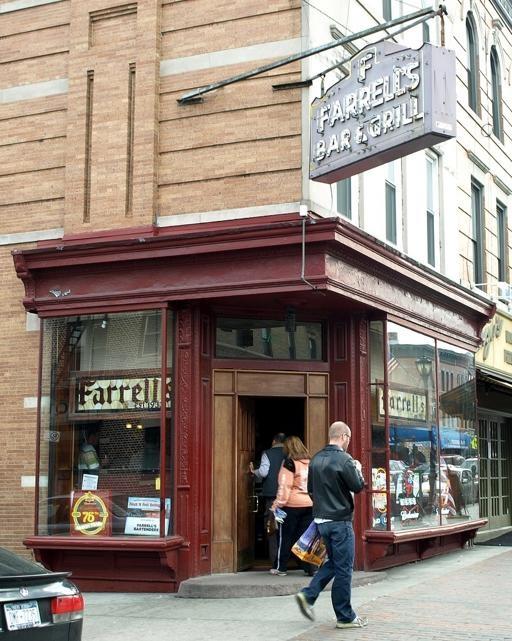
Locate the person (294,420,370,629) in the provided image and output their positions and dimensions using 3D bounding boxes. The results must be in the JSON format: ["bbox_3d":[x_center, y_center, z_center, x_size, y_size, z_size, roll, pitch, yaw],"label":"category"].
[{"bbox_3d":[0.652,1.790,7.857,0.635,1.778,0.403,-4,-13,7],"label":"person"}]

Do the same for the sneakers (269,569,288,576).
[{"bbox_3d":[0.261,2.920,10.294,0.190,0.079,0.198,-3,-13,0],"label":"sneakers"}]

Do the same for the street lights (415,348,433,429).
[{"bbox_3d":[2.478,0.912,13.004,0.146,1.092,0.582,-7,-13,20],"label":"street lights"}]

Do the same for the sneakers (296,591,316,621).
[{"bbox_3d":[0.408,2.470,7.705,0.132,0.321,0.105,-9,-6,-45],"label":"sneakers"}]
